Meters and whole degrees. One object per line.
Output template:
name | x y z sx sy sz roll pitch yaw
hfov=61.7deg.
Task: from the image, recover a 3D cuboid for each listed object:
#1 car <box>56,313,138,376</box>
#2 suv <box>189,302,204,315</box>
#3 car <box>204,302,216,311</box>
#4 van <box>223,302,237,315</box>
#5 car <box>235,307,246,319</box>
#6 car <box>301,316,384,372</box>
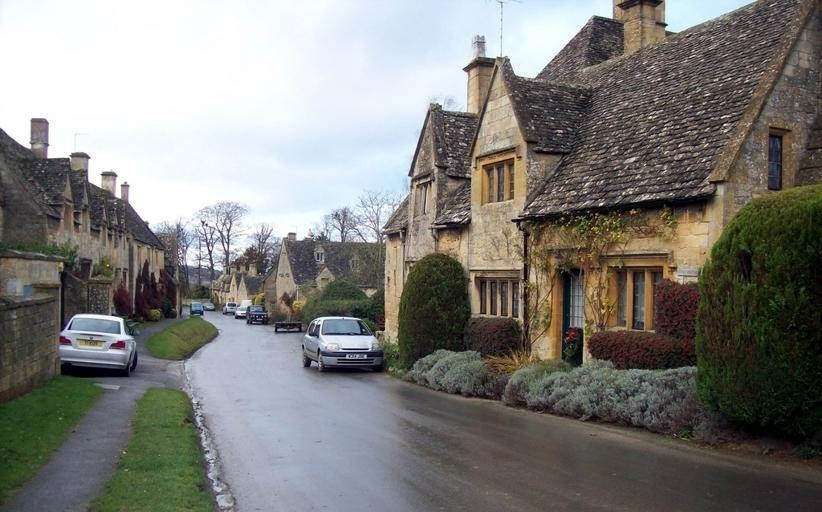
car | -10.162 3.077 22.299 2.217 2.046 1.707 -3 7 -29
suv | -24.772 6.190 79.293 1.581 1.585 2.791 1 1 -20
car | -29.696 7.535 100.559 1.090 0.948 2.562 0 -5 -21
van | -23.574 6.956 89.215 1.283 1.098 3.008 0 3 -17
car | -19.782 6.625 79.466 1.101 1.143 2.561 1 -7 -14
car | -2.553 3.493 26.271 3.017 1.980 2.570 0 6 -7
